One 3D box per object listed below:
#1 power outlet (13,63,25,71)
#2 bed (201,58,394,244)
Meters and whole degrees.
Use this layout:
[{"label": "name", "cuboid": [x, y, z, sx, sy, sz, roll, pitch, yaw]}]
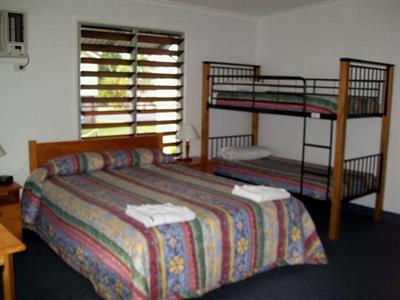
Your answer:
[{"label": "power outlet", "cuboid": [-2.546, -1.154, 4.489, 0.158, 0.118, 0.033, -4, 5, -27]}, {"label": "bed", "cuboid": [1.562, -0.169, 5.692, 1.592, 2.520, 2.717, -7, 12, -36]}]
